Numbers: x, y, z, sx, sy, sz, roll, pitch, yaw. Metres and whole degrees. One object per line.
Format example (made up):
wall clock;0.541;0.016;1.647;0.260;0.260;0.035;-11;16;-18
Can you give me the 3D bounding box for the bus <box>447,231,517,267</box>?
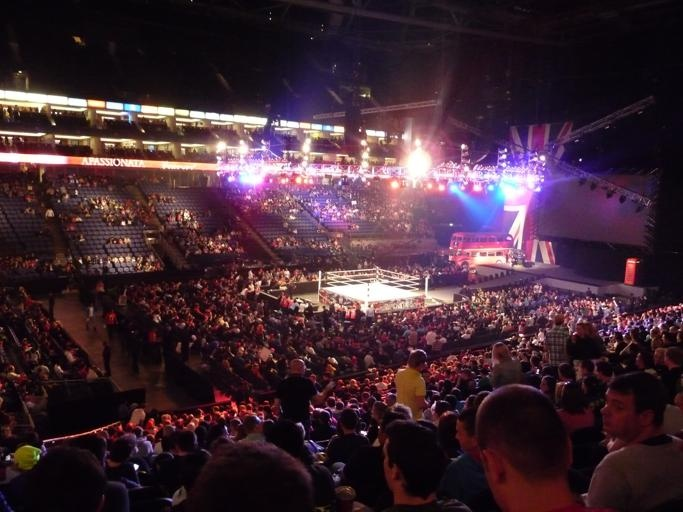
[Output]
bus;10.281;-0.584;42.710;5.457;2.847;2.202;1;2;-15
